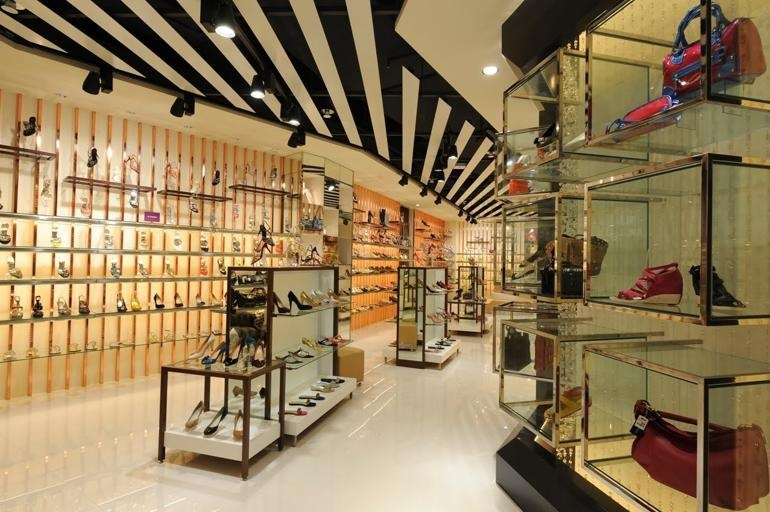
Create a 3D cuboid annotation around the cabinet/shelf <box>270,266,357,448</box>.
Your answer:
[{"bbox_3d":[-0.890,1.248,6.444,0.648,1.814,1.934,-1,-1,10],"label":"cabinet/shelf"}]

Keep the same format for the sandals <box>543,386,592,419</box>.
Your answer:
[{"bbox_3d":[1.456,1.173,4.303,0.142,0.159,0.425,-4,1,-13],"label":"sandals"}]

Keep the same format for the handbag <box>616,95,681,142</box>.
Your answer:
[{"bbox_3d":[1.788,-0.915,3.685,0.201,0.120,0.338,21,-31,-32],"label":"handbag"}]

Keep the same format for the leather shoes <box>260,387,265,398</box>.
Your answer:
[{"bbox_3d":[-1.331,1.514,5.896,0.044,0.138,0.056,1,-3,-1],"label":"leather shoes"}]

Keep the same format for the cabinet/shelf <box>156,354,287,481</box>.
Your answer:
[{"bbox_3d":[-1.650,1.548,5.727,1.167,1.086,1.166,-1,-5,23],"label":"cabinet/shelf"}]

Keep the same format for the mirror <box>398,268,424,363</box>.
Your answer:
[{"bbox_3d":[0.413,0.949,8.630,0.574,1.558,0.266,6,10,26],"label":"mirror"}]

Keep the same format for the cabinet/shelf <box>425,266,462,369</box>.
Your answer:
[{"bbox_3d":[1.070,1.176,9.878,0.555,1.541,1.658,-1,-1,11],"label":"cabinet/shelf"}]

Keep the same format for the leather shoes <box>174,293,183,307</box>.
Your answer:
[{"bbox_3d":[-3.129,0.684,8.142,0.088,0.091,0.235,-3,17,-31],"label":"leather shoes"}]

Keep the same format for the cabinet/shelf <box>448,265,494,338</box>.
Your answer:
[{"bbox_3d":[1.988,1.022,12.726,0.854,1.647,1.697,2,-2,14],"label":"cabinet/shelf"}]
